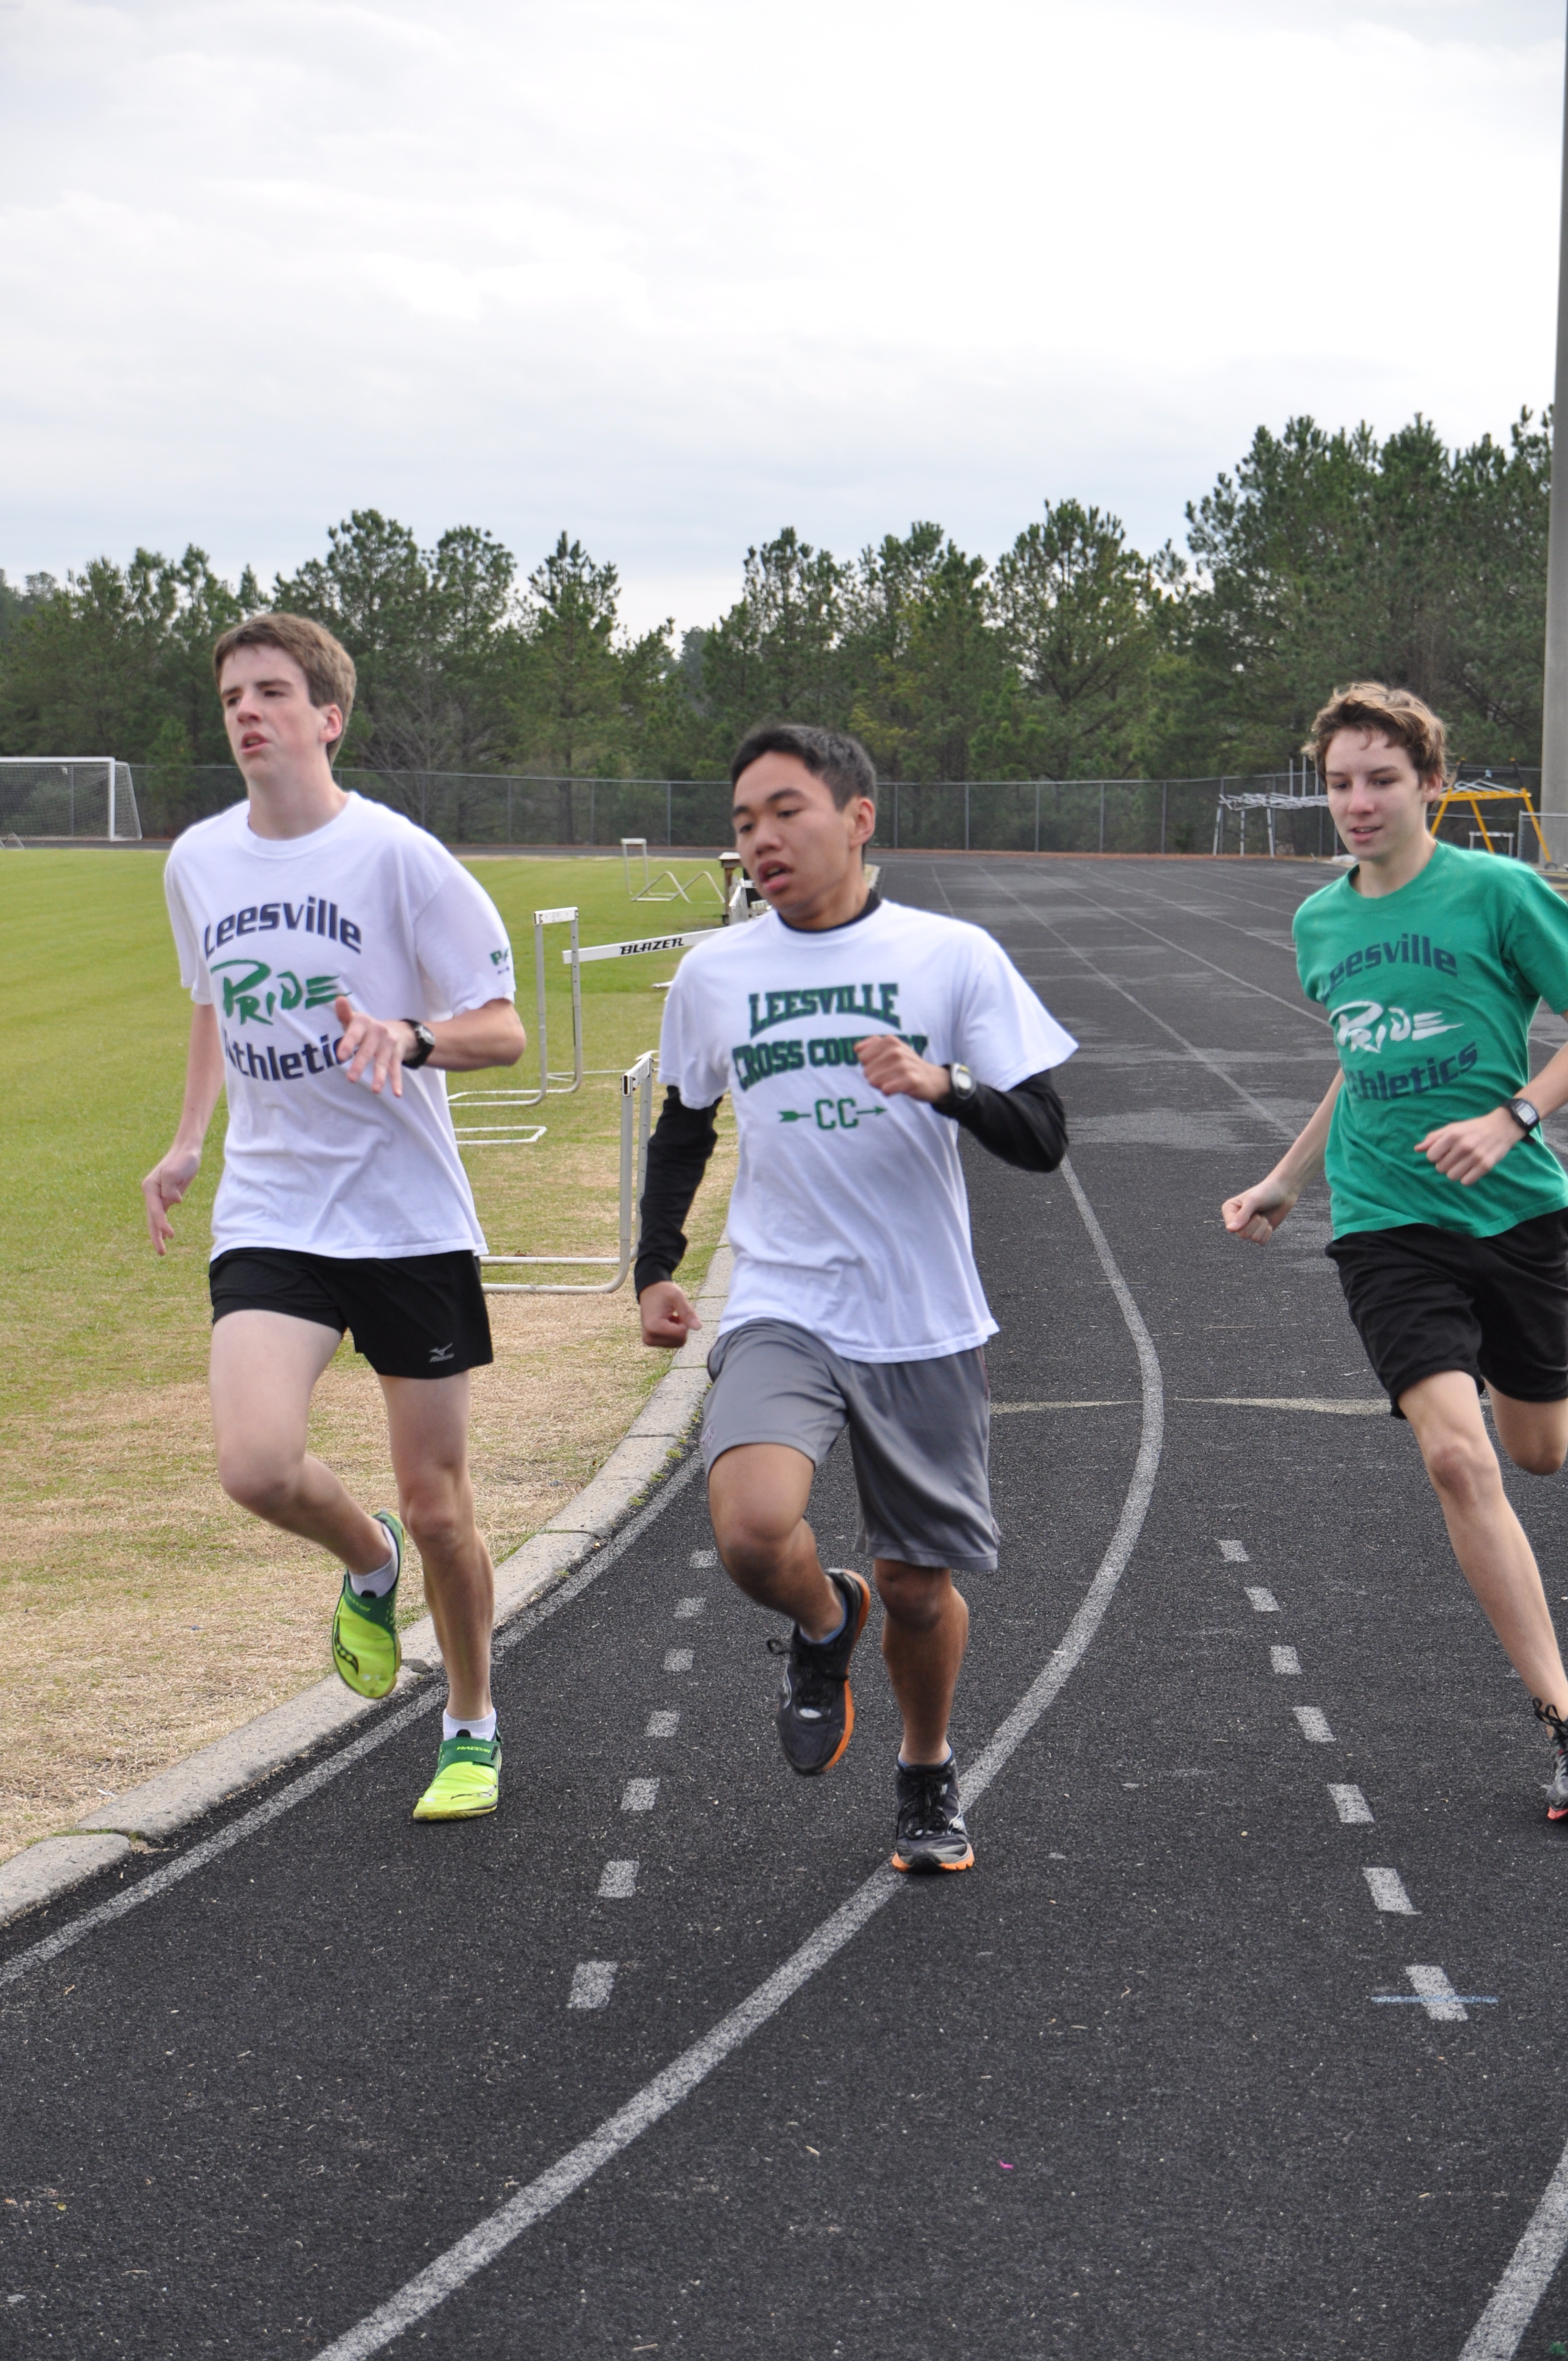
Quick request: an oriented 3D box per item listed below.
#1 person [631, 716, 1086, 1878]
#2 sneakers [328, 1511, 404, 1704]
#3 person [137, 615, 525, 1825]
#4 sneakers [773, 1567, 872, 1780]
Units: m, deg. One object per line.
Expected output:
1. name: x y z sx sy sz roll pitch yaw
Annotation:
1. person: 0.097 0.239 3.497 0.732 1.924 0.683 -1 3 6
2. sneakers: -0.778 0.834 4.203 0.149 0.362 0.163 1 12 0
3. person: -0.782 0.073 3.898 0.592 2.239 0.921 -2 4 -16
4. sneakers: 0.071 0.829 3.529 0.141 0.351 0.161 4 4 18
